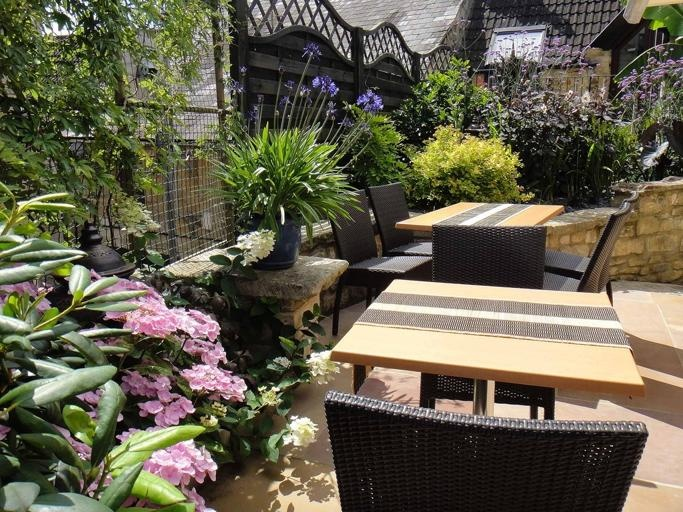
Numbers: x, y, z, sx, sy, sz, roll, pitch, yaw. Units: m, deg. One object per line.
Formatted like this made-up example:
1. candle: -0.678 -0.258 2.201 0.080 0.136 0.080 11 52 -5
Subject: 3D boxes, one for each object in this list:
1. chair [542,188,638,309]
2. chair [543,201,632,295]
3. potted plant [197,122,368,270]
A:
1. chair: 1.379 0.009 2.749 0.555 0.661 0.439 11 26 39
2. chair: 1.352 0.009 2.674 0.477 0.548 0.363 9 24 28
3. potted plant: -0.368 -0.418 3.173 1.029 0.731 1.060 -1 6 -14
